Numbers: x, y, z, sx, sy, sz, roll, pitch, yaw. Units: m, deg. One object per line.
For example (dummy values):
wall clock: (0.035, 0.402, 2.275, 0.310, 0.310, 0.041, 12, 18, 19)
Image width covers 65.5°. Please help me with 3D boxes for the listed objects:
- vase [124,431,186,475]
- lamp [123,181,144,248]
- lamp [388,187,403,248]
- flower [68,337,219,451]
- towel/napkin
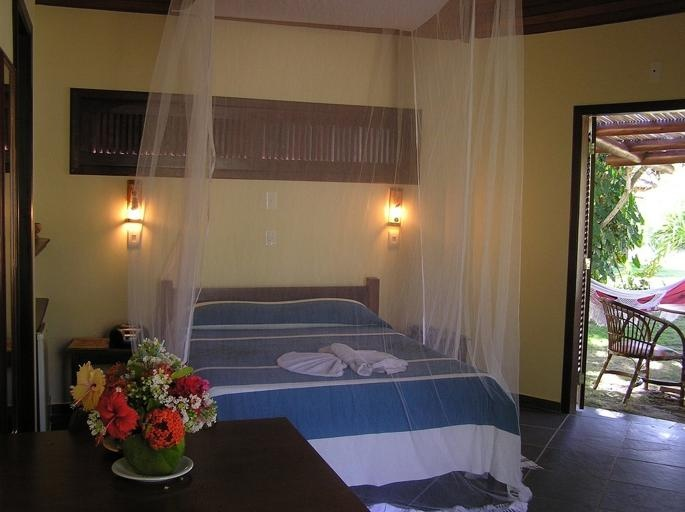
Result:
vase: (-0.596, 0.611, 1.683, 0.135, 0.060, 0.125, 3, -26, 6)
lamp: (-1.042, -0.200, 2.687, 0.090, 0.369, 0.095, -1, -5, -15)
lamp: (0.274, -0.199, 2.744, 0.092, 0.303, 0.046, 3, 6, -8)
flower: (-0.673, 0.472, 1.821, 0.447, 0.379, 0.469, 10, -1, -15)
towel/napkin: (0.009, 0.518, 2.655, 0.666, 0.155, 0.042, 4, 6, -13)
